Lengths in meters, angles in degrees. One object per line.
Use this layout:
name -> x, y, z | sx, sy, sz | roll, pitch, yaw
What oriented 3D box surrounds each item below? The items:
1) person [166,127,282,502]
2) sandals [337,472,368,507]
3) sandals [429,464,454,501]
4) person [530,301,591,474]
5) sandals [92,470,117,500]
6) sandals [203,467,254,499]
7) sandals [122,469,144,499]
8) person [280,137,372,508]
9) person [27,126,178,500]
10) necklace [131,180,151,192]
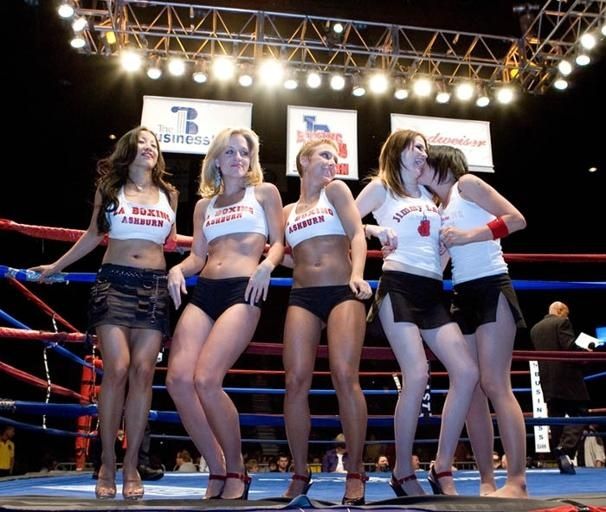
person -> -0.511, 0.283, 4.171 | 0.755, 2.404, 0.569 | 0, -7, 1
sandals -> 0.303, 1.371, 3.771 | 0.139, 0.166, 0.251 | 0, -8, 3
sandals -> 0.882, 1.385, 3.915 | 0.215, 0.255, 0.101 | -4, -8, 15
person -> 2.577, 1.258, 6.367 | 0.510, 1.656, 1.207 | -3, -8, 22
sandals -> -1.233, 1.438, 3.952 | 0.107, 0.128, 0.301 | 5, -19, -19
sandals -> -0.454, 1.379, 3.822 | 0.331, 0.135, 0.120 | 8, -16, -18
sandals -> -1.021, 1.372, 3.821 | 0.117, 0.160, 0.151 | 3, -8, -19
person -> 0.141, 0.314, 4.155 | 0.618, 2.355, 0.533 | -1, -8, 13
person -> -1.174, 0.270, 4.186 | 0.619, 2.427, 0.596 | 2, -8, -12
necklace -> -1.125, -0.482, 4.402 | 0.077, 0.059, 0.074 | -2, -3, -31
